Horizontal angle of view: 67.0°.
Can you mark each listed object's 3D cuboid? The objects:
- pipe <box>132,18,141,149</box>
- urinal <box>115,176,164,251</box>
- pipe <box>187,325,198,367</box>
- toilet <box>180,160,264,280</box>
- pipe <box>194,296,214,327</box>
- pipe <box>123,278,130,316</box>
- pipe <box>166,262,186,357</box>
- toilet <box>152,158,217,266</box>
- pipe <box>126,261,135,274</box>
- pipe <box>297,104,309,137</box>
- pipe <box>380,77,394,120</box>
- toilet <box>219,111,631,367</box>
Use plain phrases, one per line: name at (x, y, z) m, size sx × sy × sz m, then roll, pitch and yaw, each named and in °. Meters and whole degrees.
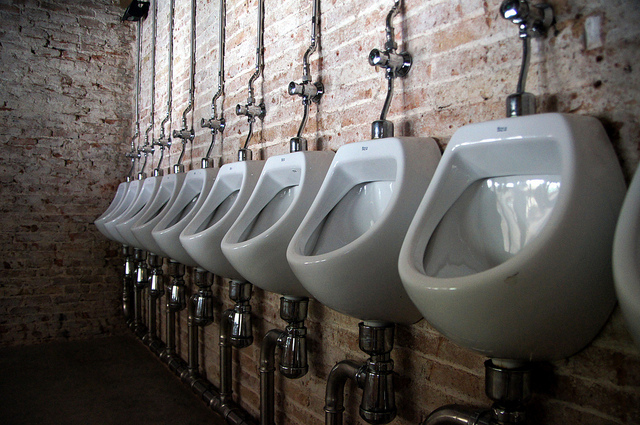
pipe at (-1.515, -1.085, 4.006) m, size 0.088 × 1.060 × 0.085 m, roll 2°, pitch 1°, yaw 26°
urinal at (-1.186, -0.011, 3.052) m, size 0.296 × 0.429 × 0.265 m, roll 7°, pitch -2°, yaw -43°
pipe at (-0.746, 0.784, 2.850) m, size 0.071 × 0.257 × 0.042 m, roll 6°, pitch 10°, yaw 42°
toilet at (-0.442, 0.058, 2.217) m, size 0.416 × 0.527 × 0.368 m, roll -11°, pitch 7°, yaw -32°
pipe at (-0.613, 0.511, 2.548) m, size 0.114 × 0.170 × 0.116 m, roll 0°, pitch -5°, yaw 10°
pipe at (-1.509, 0.661, 3.776) m, size 0.050 × 0.347 × 0.184 m, roll -4°, pitch 8°, yaw -23°
pipe at (-0.916, 0.621, 3.055) m, size 0.113 × 0.696 × 0.441 m, roll -3°, pitch 8°, yaw -20°
toilet at (-0.646, -0.007, 2.555) m, size 0.307 × 0.512 × 0.315 m, roll 5°, pitch 27°, yaw 45°
pipe at (-1.436, 0.416, 3.678) m, size 0.049 × 0.093 × 0.087 m, roll 3°, pitch 8°, yaw 26°
pipe at (-0.071, -0.383, 2.032) m, size 0.034 × 0.153 × 0.021 m, roll 8°, pitch 5°, yaw 3°
pipe at (0.240, -0.401, 1.720) m, size 0.038 × 0.174 × 0.024 m, roll 10°, pitch -18°, yaw 14°
toilet at (0.343, 0.082, 1.536) m, size 0.463 × 0.374 × 0.991 m, roll -19°, pitch 12°, yaw -38°
